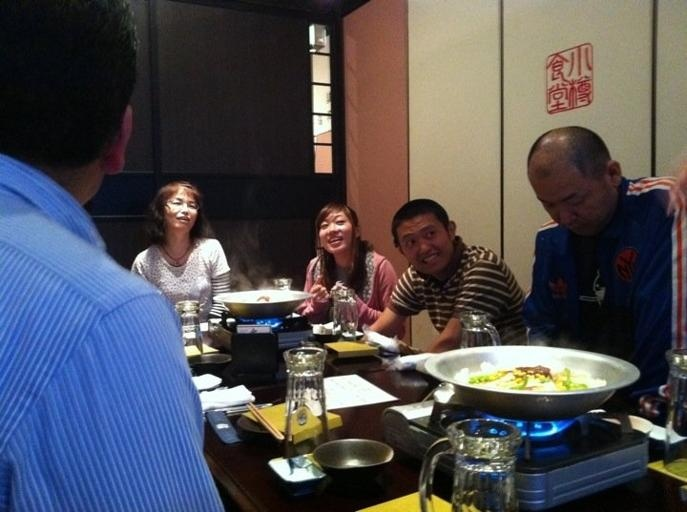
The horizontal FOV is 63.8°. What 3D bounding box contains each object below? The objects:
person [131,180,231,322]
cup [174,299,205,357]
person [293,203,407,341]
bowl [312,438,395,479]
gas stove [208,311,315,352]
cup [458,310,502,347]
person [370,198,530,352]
[{"bbox_3d":[-1.044,0.025,3.602,0.597,1.009,0.537,-3,10,-23],"label":"person"},{"bbox_3d":[-0.574,0.276,2.076,0.087,0.232,0.085,0,16,0],"label":"cup"},{"bbox_3d":[0.030,0.200,3.374,0.597,1.005,0.654,-5,-4,11],"label":"person"},{"bbox_3d":[0.020,0.412,1.137,0.095,0.024,0.081,-2,6,-22],"label":"bowl"},{"bbox_3d":[-0.362,0.286,2.332,0.338,0.146,0.352,-1,-15,-14],"label":"gas stove"},{"bbox_3d":[0.416,0.223,1.718,0.124,0.134,0.083,1,2,31],"label":"cup"},{"bbox_3d":[0.494,0.133,2.720,0.927,0.756,0.691,-2,-1,-13],"label":"person"}]
